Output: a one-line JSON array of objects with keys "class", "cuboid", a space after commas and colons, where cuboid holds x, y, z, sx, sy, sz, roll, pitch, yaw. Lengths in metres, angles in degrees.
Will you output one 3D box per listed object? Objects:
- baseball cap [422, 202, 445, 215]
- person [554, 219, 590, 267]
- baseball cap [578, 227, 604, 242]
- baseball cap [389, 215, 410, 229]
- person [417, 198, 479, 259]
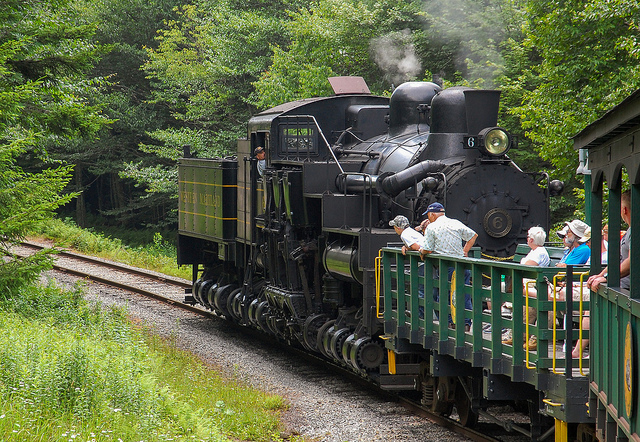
[{"class": "baseball cap", "cuboid": [1.628, -0.178, 9.479, 0.242, 0.122, 0.156, -6, -5, 16]}, {"class": "person", "cuboid": [3.323, 0.359, 8.747, 0.402, 0.729, 0.494, 1, 8, 9]}, {"class": "baseball cap", "cuboid": [3.491, 0.223, 8.598, 0.253, 0.174, 0.338, -5, -23, -3]}, {"class": "baseball cap", "cuboid": [1.168, 0.016, 10.030, 0.258, 0.150, 0.177, 15, 14, 41]}, {"class": "person", "cuboid": [1.875, 0.124, 9.653, 0.535, 0.908, 0.483, -19, 44, 2]}]
